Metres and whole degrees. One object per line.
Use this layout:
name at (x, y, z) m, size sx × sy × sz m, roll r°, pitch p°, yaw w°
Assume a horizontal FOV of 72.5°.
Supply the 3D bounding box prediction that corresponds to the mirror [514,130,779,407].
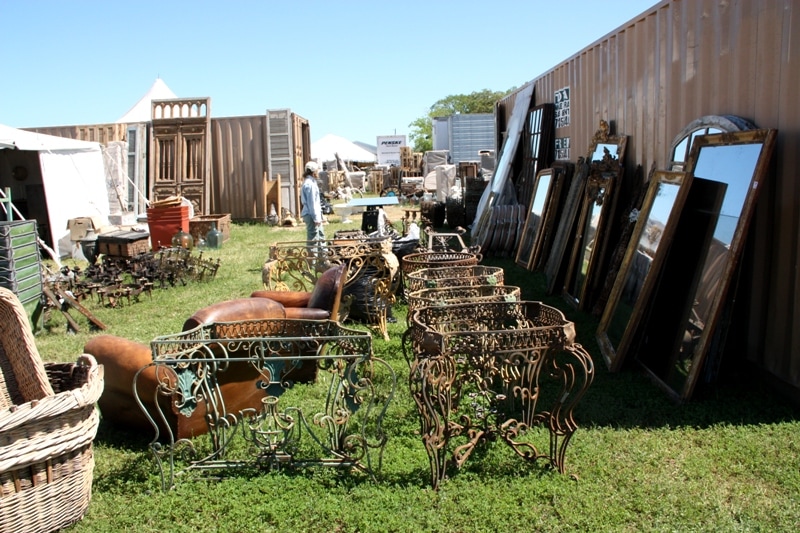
mirror at (2.907, -0.164, 5.846) m, size 1.178 × 2.540 × 1.685 m, roll -7°, pitch 17°, yaw -21°

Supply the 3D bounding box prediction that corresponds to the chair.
chair at (-1.679, 0.761, 5.659) m, size 1.291 × 1.527 × 2.421 m, roll 2°, pitch 4°, yaw 42°
